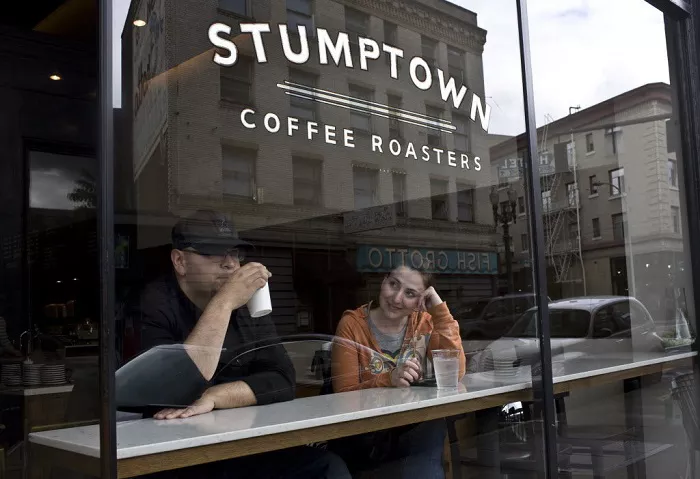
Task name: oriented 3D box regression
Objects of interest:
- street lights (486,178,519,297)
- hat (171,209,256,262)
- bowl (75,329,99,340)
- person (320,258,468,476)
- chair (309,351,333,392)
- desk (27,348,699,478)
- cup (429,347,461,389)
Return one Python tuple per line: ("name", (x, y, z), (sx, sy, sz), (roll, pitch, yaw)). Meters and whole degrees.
("street lights", (0.664, -0.008, 2.619), (0.045, 0.474, 0.143), (2, -8, -23))
("hat", (-0.468, -0.001, 2.028), (0.187, 0.110, 0.147), (-10, -13, 34))
("bowl", (-0.962, 0.346, 2.217), (0.104, 0.033, 0.119), (-6, -9, 36))
("person", (0.155, 0.509, 2.308), (0.413, 0.874, 0.497), (16, -38, -15))
("chair", (-0.103, 0.487, 2.242), (0.102, 0.149, 0.132), (6, -16, -29))
("desk", (0.178, 0.597, 2.261), (2.379, 0.214, 0.288), (2, -9, -29))
("cup", (0.360, 0.499, 2.342), (0.136, 0.161, 0.133), (-1, -13, 0))
